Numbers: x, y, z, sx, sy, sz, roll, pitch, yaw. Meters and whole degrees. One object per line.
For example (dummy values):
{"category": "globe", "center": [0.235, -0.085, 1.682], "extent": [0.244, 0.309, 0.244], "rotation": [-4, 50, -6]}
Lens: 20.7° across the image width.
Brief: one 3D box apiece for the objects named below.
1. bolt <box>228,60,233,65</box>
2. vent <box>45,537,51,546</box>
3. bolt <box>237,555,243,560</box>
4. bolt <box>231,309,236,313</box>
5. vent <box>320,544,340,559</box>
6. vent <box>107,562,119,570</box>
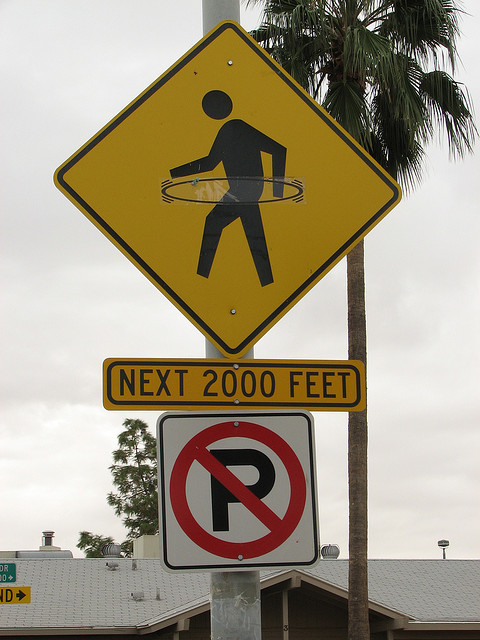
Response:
{"category": "bolt", "center": [-0.032, -0.870, 4.435], "extent": [0.009, 0.012, 0.003], "rotation": [2, -10, -6]}
{"category": "vent", "center": [-4.540, 5.146, 30.742], "extent": [0.118, 0.159, 0.143], "rotation": [-1, -1, -4]}
{"category": "bolt", "center": [0.001, 0.741, 4.115], "extent": [0.010, 0.014, 0.003], "rotation": [0, -5, -8]}
{"category": "bolt", "center": [-0.021, -0.031, 4.305], "extent": [0.015, 0.021, 0.007], "rotation": [-2, 1, 2]}
{"category": "vent", "center": [1.738, 4.363, 24.841], "extent": [0.301, 0.236, 0.516], "rotation": [3, 0, 7]}
{"category": "vent", "center": [-2.251, 4.301, 23.027], "extent": [0.189, 0.084, 0.204], "rotation": [3, 0, -6]}
